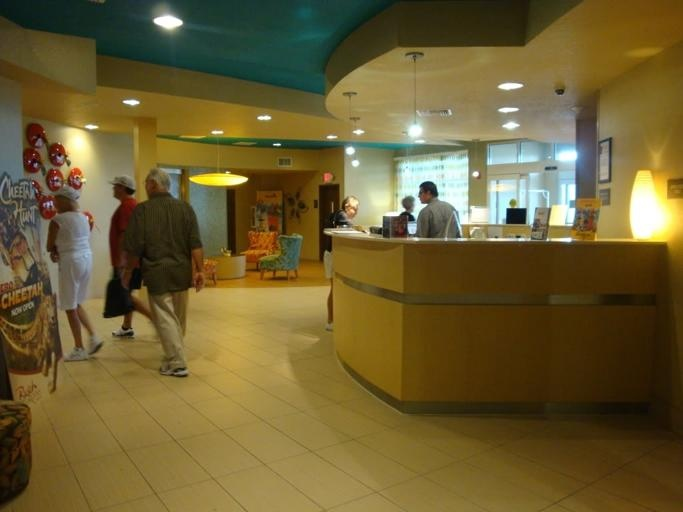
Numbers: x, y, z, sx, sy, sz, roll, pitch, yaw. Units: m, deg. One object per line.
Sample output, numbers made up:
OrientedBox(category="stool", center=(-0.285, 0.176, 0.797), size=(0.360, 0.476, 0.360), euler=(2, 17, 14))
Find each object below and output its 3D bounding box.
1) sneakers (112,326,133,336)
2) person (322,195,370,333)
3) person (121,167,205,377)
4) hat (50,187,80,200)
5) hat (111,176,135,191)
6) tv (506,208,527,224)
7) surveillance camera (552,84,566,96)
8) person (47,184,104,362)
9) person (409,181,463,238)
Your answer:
OrientedBox(category="sneakers", center=(-2.681, 0.929, 6.341), size=(0.224, 0.106, 0.115), euler=(4, -1, 1))
OrientedBox(category="person", center=(0.036, 0.091, 6.948), size=(0.535, 1.797, 0.518), euler=(4, 3, 12))
OrientedBox(category="person", center=(-1.738, 0.153, 4.985), size=(0.720, 1.956, 0.496), euler=(3, 10, 21))
OrientedBox(category="hat", center=(-2.914, -0.672, 5.451), size=(0.208, 0.100, 0.142), euler=(11, 3, -6))
OrientedBox(category="hat", center=(-2.397, -0.815, 5.661), size=(0.245, 0.131, 0.175), euler=(12, 6, -5))
OrientedBox(category="tv", center=(2.865, -0.645, 8.459), size=(0.269, 0.266, 0.287), euler=(0, 2, 18))
OrientedBox(category="surveillance camera", center=(2.364, -1.799, 5.584), size=(0.092, 0.074, 0.087), euler=(3, -4, -25))
OrientedBox(category="person", center=(-2.898, 0.172, 5.549), size=(0.434, 1.818, 0.673), euler=(-6, 10, -29))
OrientedBox(category="person", center=(1.050, -0.415, 5.755), size=(0.500, 0.819, 0.393), euler=(-16, 19, -23))
